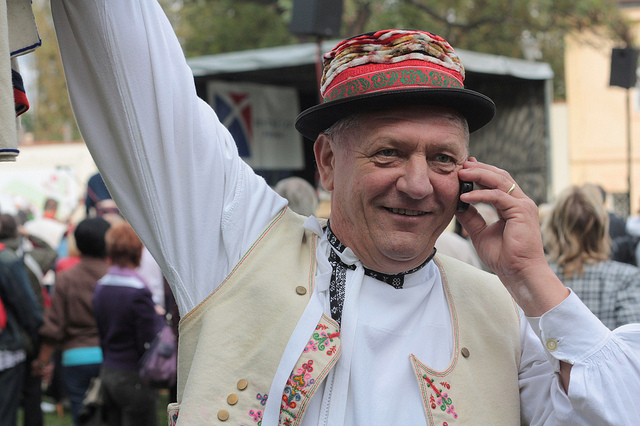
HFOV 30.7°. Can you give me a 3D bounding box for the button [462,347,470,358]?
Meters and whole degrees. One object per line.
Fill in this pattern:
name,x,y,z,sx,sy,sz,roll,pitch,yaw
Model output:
button,1.056,1.009,8.456,0.061,0.061,0.015,5,-30,-29
